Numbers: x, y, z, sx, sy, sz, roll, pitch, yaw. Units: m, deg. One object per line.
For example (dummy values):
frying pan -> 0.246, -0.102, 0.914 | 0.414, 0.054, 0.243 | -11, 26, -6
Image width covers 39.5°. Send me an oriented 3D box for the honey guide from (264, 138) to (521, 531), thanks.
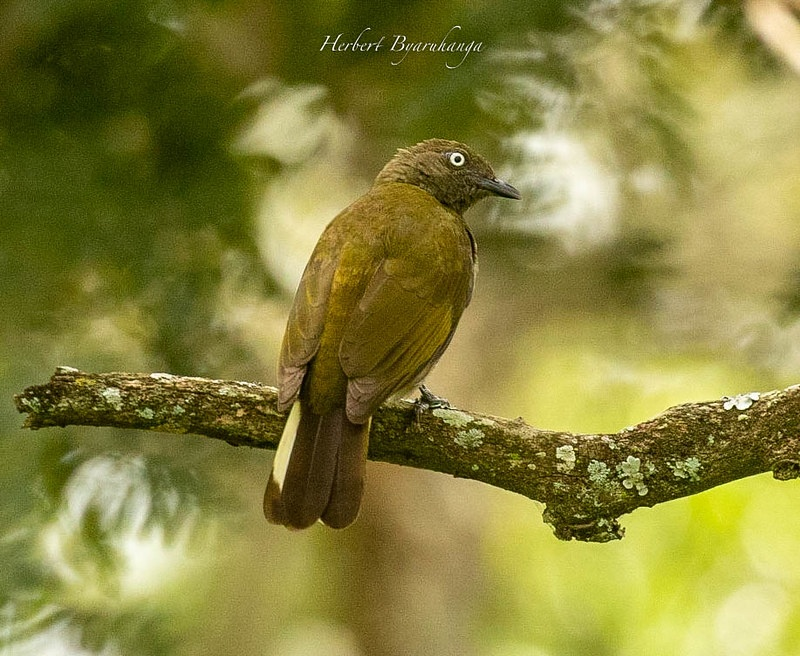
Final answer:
honey guide -> -0.180, -0.001, 6.227 | 1.534, 1.689, 2.138 | 11, -79, 2
